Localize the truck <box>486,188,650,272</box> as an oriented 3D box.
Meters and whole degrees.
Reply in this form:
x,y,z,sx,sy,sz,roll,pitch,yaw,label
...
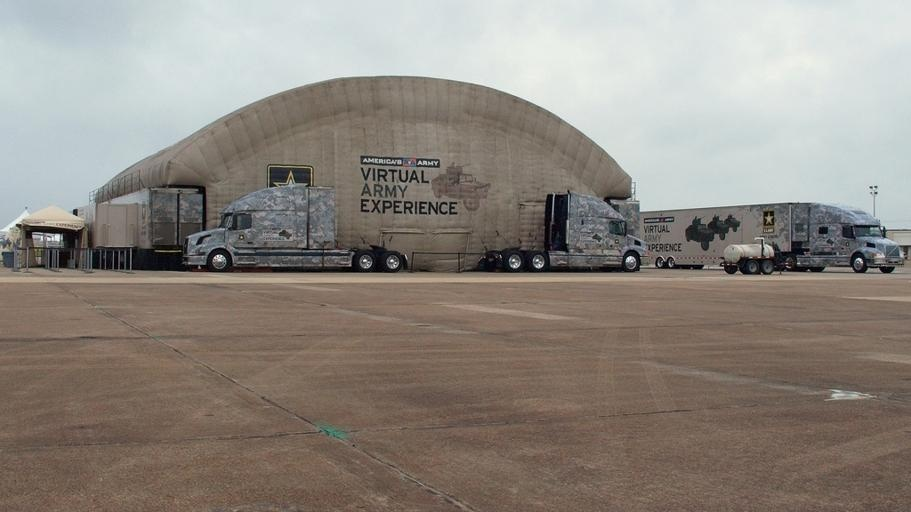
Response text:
x,y,z,sx,sy,sz,roll,pitch,yaw,label
7.332,-1.422,42.947,9.327,4.471,3.370,0,1,-7,truck

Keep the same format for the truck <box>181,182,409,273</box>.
x,y,z,sx,sy,sz,roll,pitch,yaw,label
-8.506,-1.342,39.120,12.791,5.389,3.889,2,-3,-22,truck

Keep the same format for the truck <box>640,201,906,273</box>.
x,y,z,sx,sy,sz,roll,pitch,yaw,label
20.741,-1.056,44.721,4.019,4.286,15.715,0,-1,-43,truck
